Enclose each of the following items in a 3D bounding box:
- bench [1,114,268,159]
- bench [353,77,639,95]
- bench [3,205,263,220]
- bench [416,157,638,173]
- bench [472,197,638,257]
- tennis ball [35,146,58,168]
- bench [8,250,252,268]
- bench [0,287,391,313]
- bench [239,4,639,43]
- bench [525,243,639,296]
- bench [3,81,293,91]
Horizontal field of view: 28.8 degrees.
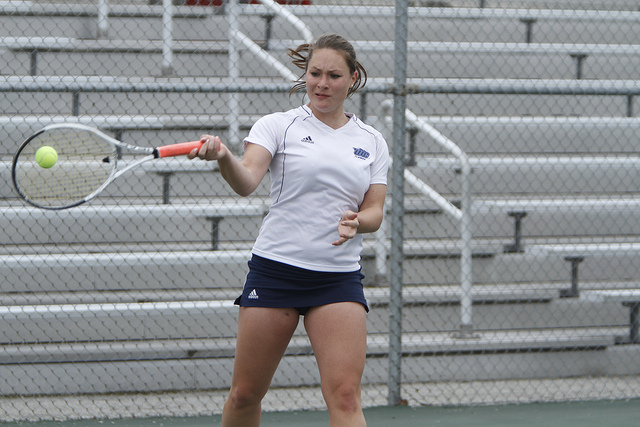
[{"bbox_3d":[-1.698,-0.734,10.518,1.899,0.225,0.591,-1,2,-13],"label":"bench"},{"bbox_3d":[1.515,-1.069,10.434,2.438,0.172,0.714,0,2,-7],"label":"bench"},{"bbox_3d":[-1.544,-0.019,10.368,2.120,0.118,0.314,0,2,-9],"label":"bench"},{"bbox_3d":[1.738,-0.430,10.812,1.658,0.166,0.113,0,1,-10],"label":"bench"},{"bbox_3d":[2.048,0.118,10.890,1.437,0.499,1.010,0,2,7],"label":"bench"},{"bbox_3d":[-1.932,-0.398,8.836,0.150,0.138,0.141,12,34,-8],"label":"tennis ball"},{"bbox_3d":[-1.574,0.370,10.361,1.984,0.129,0.315,0,2,-5],"label":"bench"},{"bbox_3d":[-1.008,0.690,10.249,3.161,0.189,0.516,0,2,0],"label":"bench"},{"bbox_3d":[1.032,-1.569,10.985,2.868,0.371,0.305,-1,-36,-10],"label":"bench"},{"bbox_3d":[2.211,0.472,10.574,0.951,0.445,0.250,0,2,7],"label":"bench"},{"bbox_3d":[-1.385,-1.027,10.045,2.299,0.093,0.220,0,2,-5],"label":"bench"}]
